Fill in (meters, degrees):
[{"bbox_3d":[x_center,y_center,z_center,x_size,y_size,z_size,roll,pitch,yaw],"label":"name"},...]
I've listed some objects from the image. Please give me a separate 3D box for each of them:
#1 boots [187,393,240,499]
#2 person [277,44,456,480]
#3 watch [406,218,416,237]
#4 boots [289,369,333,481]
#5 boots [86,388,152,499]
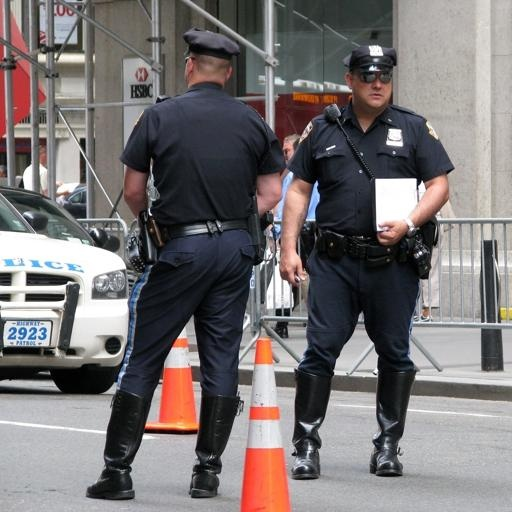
[{"bbox_3d":[-0.174,0.841,4.880,0.220,0.473,0.159,2,3,-4],"label":"boots"},{"bbox_3d":[0.515,0.027,5.356,0.853,2.011,0.665,1,3,11],"label":"person"},{"bbox_3d":[0.744,-0.136,5.268,0.045,0.065,0.070,-18,-20,10],"label":"watch"},{"bbox_3d":[0.269,0.815,5.325,0.175,0.516,0.228,3,3,2],"label":"boots"},{"bbox_3d":[-0.599,0.820,4.815,0.265,0.479,0.177,2,3,-9],"label":"boots"}]
